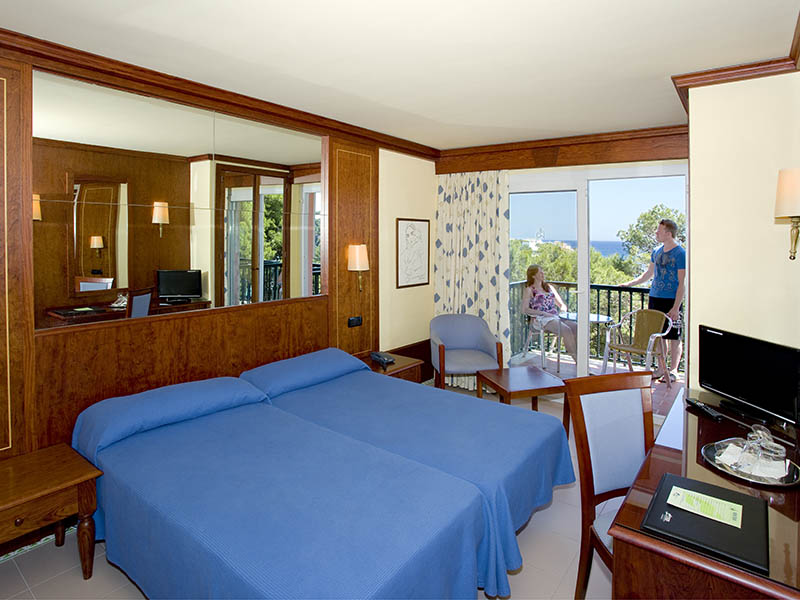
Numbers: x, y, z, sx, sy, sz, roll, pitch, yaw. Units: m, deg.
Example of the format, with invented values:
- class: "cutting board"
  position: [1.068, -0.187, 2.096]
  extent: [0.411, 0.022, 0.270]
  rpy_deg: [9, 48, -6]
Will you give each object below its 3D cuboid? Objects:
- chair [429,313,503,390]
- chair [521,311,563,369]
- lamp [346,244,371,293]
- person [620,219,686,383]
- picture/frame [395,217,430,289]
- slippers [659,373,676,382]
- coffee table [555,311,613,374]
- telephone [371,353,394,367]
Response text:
- class: "chair"
  position: [0.693, 0.538, 6.169]
  extent: [0.667, 0.954, 0.813]
  rpy_deg: [0, -1, -9]
- class: "chair"
  position: [1.588, 0.441, 6.365]
  extent: [0.550, 0.724, 0.492]
  rpy_deg: [1, -2, -41]
- class: "lamp"
  position: [-0.427, -0.327, 5.690]
  extent: [0.231, 0.494, 0.391]
  rpy_deg: [-1, 7, -4]
- class: "person"
  position: [2.678, 0.008, 5.741]
  extent: [0.441, 1.654, 0.276]
  rpy_deg: [2, 7, 26]
- class: "picture/frame"
  position: [0.121, -0.553, 6.436]
  extent: [0.053, 0.912, 0.700]
  rpy_deg: [7, 11, 38]
- class: "slippers"
  position: [2.843, 0.818, 5.916]
  extent: [0.087, 0.064, 0.168]
  rpy_deg: [-2, -2, 23]
- class: "coffee table"
  position: [1.973, 0.444, 5.989]
  extent: [0.494, 0.618, 0.489]
  rpy_deg: [1, 5, 28]
- class: "telephone"
  position: [-0.187, 0.584, 5.509]
  extent: [0.116, 0.060, 0.197]
  rpy_deg: [-4, 7, -31]
